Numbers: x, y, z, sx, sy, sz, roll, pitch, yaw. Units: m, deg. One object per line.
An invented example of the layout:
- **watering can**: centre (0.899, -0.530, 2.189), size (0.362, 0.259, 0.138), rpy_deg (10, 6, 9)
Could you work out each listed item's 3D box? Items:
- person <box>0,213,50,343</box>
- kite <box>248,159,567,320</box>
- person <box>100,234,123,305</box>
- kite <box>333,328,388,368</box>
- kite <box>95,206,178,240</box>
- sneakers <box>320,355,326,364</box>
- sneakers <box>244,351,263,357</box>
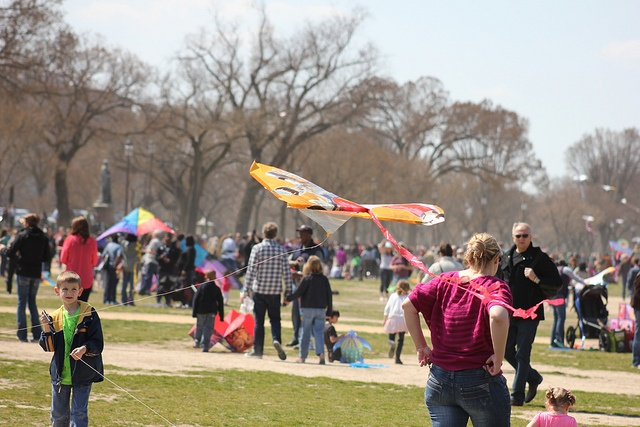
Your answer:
- **person**: centre (-9.924, 2.308, 46.057), size (1.178, 4.289, 1.196), rpy_deg (-1, -8, 23)
- **kite**: centre (1.419, 0.117, 41.577), size (7.275, 1.564, 5.456), rpy_deg (20, 0, 39)
- **person**: centre (-8.054, 2.392, 52.251), size (0.708, 2.290, 0.801), rpy_deg (4, -8, -14)
- **kite**: centre (1.221, 4.671, 46.233), size (1.334, 0.898, 1.365), rpy_deg (-2, -1, 10)
- **kite**: centre (-6.831, 0.203, 51.545), size (2.891, 0.923, 3.071), rpy_deg (-4, 14, 20)
- **sneakers**: centre (0.072, 5.031, 45.677), size (0.245, 0.400, 0.242), rpy_deg (2, -3, -4)
- **sneakers**: centre (-2.229, 4.901, 45.984), size (0.586, 0.242, 0.216), rpy_deg (9, -2, 11)
